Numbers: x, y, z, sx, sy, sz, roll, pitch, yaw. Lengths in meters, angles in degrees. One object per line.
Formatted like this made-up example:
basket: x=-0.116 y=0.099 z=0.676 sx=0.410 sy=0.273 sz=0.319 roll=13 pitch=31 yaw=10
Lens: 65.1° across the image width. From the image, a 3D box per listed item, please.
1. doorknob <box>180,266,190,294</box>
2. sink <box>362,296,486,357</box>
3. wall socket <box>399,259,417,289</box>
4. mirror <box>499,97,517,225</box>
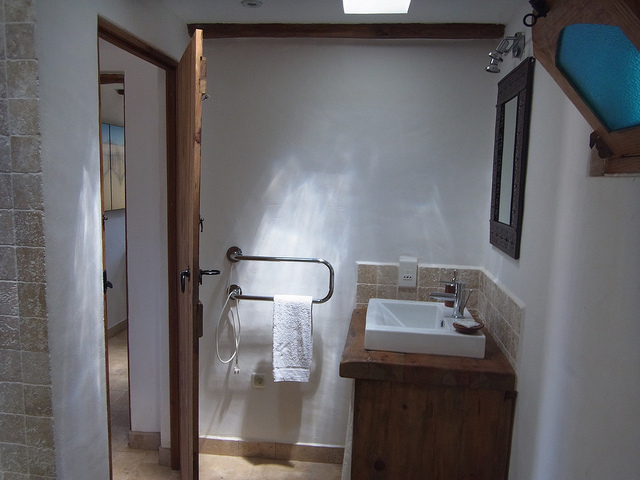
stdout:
doorknob: x=-0.667 y=0.198 z=2.462 sx=0.041 sy=0.139 sz=0.139 roll=3 pitch=-1 yaw=-16
sink: x=0.542 y=0.439 z=2.640 sx=0.590 sy=0.254 sz=0.586 roll=3 pitch=-2 yaw=9
wall socket: x=0.519 y=0.185 z=2.933 sx=0.104 sy=0.197 sz=0.064 roll=4 pitch=20 yaw=17
mirror: x=0.937 y=-0.382 z=2.495 sx=0.035 sy=0.548 sz=0.256 roll=3 pitch=-1 yaw=14
